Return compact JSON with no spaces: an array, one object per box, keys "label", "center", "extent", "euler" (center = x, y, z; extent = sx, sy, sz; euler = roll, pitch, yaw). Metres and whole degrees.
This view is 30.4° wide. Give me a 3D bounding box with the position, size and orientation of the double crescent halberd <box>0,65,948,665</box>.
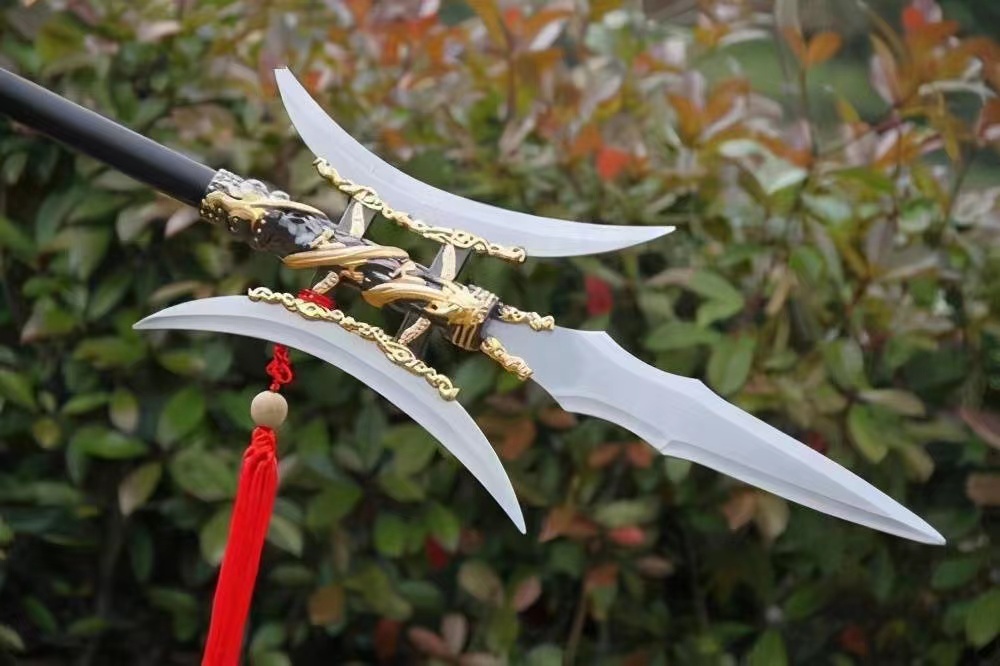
[{"label":"double crescent halberd","center":[-0.055,0.022,3.149],"extent":[1.707,0.739,0.082],"euler":[26,1,2]}]
